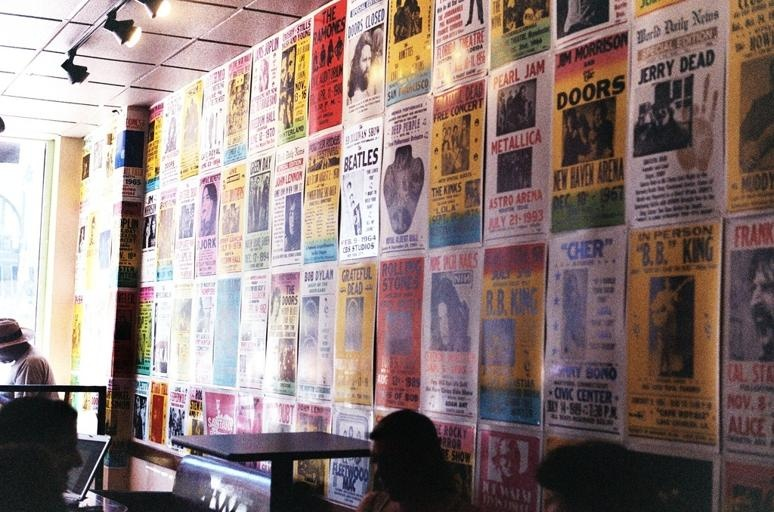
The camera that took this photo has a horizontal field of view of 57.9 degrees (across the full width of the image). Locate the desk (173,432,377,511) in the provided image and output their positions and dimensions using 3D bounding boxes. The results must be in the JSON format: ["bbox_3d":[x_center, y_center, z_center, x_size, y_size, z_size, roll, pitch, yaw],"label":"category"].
[{"bbox_3d":[-0.638,1.212,3.932,1.046,0.388,0.871,6,-12,-17],"label":"desk"}]
